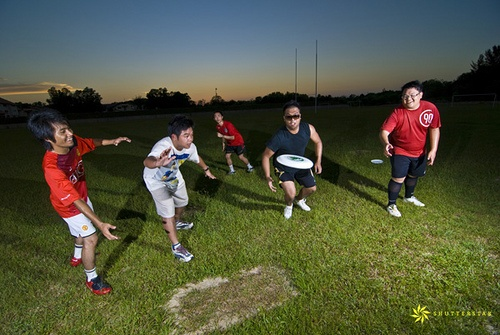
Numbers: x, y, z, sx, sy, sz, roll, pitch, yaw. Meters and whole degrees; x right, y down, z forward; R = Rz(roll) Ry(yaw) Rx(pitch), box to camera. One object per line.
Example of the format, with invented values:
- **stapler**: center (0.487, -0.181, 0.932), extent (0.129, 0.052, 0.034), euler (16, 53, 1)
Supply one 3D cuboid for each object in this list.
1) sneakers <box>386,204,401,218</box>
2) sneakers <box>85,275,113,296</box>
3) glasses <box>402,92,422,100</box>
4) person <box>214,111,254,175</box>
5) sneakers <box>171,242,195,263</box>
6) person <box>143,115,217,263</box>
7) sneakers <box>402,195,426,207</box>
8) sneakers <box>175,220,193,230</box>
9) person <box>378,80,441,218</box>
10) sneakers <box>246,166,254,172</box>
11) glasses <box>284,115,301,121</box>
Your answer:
- **sneakers**: center (3.048, 0.933, 5.992), extent (0.148, 0.144, 0.309), euler (-29, 38, 1)
- **sneakers**: center (-2.410, 1.916, 4.595), extent (0.454, 0.212, 0.198), euler (16, 7, -2)
- **glasses**: center (3.240, -1.434, 5.623), extent (0.300, 0.143, 0.098), euler (2, 19, 15)
- **person**: center (-0.547, -0.856, 9.315), extent (1.102, 1.967, 1.470), euler (-6, 19, -8)
- **sneakers**: center (-1.220, 1.537, 5.004), extent (0.449, 0.225, 0.222), euler (26, 23, 16)
- **person**: center (-1.348, 0.344, 5.074), extent (0.904, 2.520, 1.293), euler (1, 19, 12)
- **sneakers**: center (3.709, 0.769, 6.359), extent (0.172, 0.134, 0.318), euler (-28, 29, -36)
- **sneakers**: center (-1.373, 1.218, 5.899), extent (0.383, 0.175, 0.141), euler (2, 27, -13)
- **person**: center (3.332, -0.426, 5.942), extent (1.352, 2.716, 0.706), euler (-14, 21, -28)
- **sneakers**: center (0.003, 0.069, 9.195), extent (0.195, 0.198, 0.112), euler (7, 12, -31)
- **glasses**: center (0.805, -0.976, 5.419), extent (0.301, 0.094, 0.204), euler (-2, 19, 4)
